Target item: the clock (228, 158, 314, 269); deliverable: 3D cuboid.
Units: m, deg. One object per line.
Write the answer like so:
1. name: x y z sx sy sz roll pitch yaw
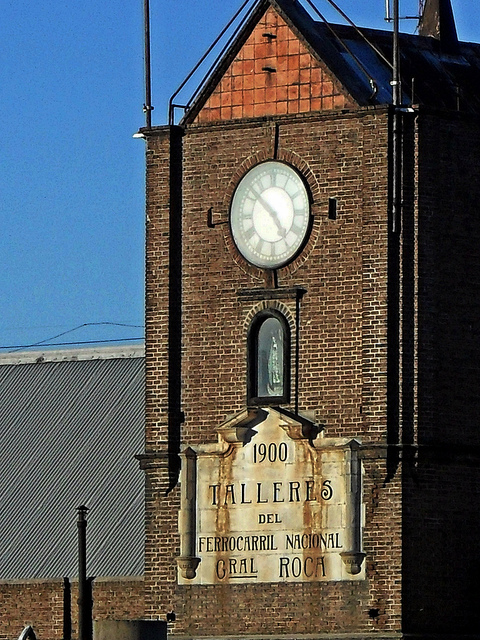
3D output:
1. clock: 0.658 -2.237 47.629 1.696 0.237 2.688 -3 -54 -2
